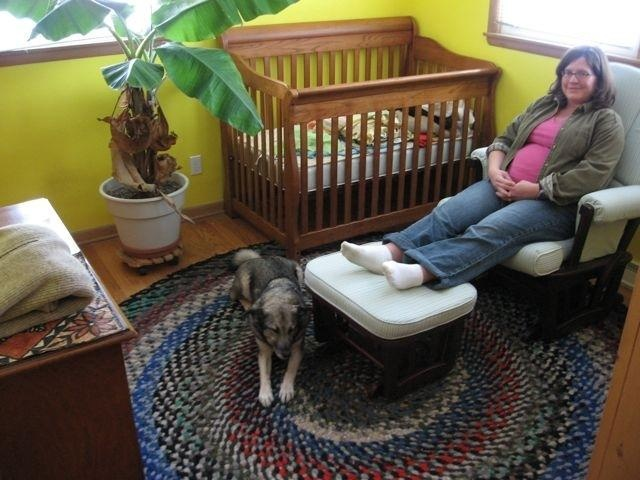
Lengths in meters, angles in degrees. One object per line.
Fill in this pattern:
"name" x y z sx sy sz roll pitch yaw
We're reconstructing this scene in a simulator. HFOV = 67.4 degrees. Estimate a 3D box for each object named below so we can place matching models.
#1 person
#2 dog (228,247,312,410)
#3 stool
"person" 0.820 -0.347 2.251 1.473 0.877 0.638 -21 31 -26
"dog" -0.221 0.304 2.136 0.291 0.291 0.721 2 43 -6
"stool" 0.263 0.337 2.231 0.508 0.464 0.680 -18 36 -27
